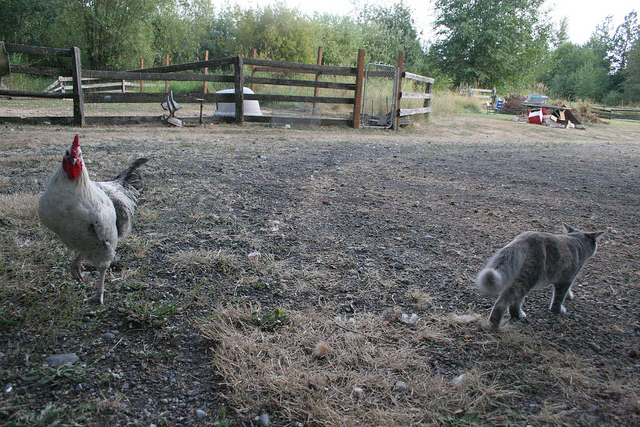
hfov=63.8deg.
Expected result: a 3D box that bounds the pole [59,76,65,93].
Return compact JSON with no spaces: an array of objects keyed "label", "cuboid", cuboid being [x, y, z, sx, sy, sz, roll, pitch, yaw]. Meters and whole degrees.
[{"label":"pole","cuboid":[-11.464,-5.630,22.800,0.172,0.426,1.590,-4,18,-26]}]

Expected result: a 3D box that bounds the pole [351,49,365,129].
[{"label":"pole","cuboid":[1.076,-3.542,14.646,0.221,2.198,0.540,4,15,3]}]

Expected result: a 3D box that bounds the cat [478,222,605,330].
[{"label":"cat","cuboid":[2.205,0.682,5.284,1.448,0.970,0.336,-5,17,-29]}]

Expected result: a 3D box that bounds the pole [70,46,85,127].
[{"label":"pole","cuboid":[-5.596,-2.925,11.805,0.244,1.717,0.712,-3,17,-24]}]

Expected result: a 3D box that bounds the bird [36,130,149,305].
[{"label":"bird","cuboid":[-2.400,-0.023,5.491,0.724,1.671,0.976,3,15,-2]}]

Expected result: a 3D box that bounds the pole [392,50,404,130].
[{"label":"pole","cuboid":[2.298,-3.932,14.961,0.148,1.567,0.149,3,-3,31]}]

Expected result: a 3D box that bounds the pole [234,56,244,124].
[{"label":"pole","cuboid":[-2.135,-3.229,13.482,0.260,1.730,0.461,1,15,-10]}]
